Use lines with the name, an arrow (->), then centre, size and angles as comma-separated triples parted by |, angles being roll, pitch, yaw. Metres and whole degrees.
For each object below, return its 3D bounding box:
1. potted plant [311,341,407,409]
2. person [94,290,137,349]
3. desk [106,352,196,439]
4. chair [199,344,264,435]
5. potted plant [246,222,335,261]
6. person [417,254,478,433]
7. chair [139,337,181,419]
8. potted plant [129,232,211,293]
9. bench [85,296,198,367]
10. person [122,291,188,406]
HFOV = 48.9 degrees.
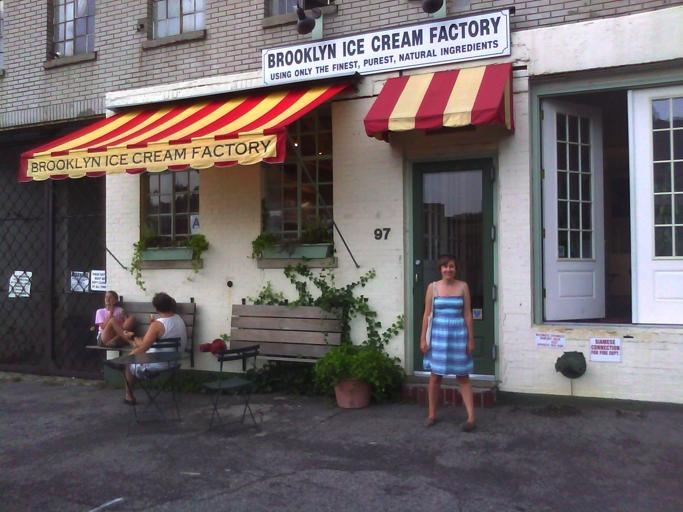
potted plant -> 0.283, 1.770, 11.317 | 0.960, 0.624, 0.881 | 9, -6, -38
person -> -3.855, 1.080, 13.057 | 0.885, 1.010, 0.527 | -3, -4, 35
desk -> -2.797, 1.987, 11.231 | 1.112, 0.987, 1.250 | -5, -12, -11
chair -> -1.558, 1.739, 10.754 | 0.606, 0.940, 0.658 | -13, -21, 22
potted plant -> -0.791, -0.218, 12.532 | 1.347, 0.573, 0.549 | -3, 10, -3
person -> 1.436, 1.185, 10.174 | 0.704, 2.299, 0.571 | 0, 9, 11
chair -> -2.774, 1.803, 11.060 | 0.884, 1.192, 0.896 | 0, -4, -23
potted plant -> -3.085, 0.120, 13.514 | 1.675, 1.029, 0.482 | 4, 11, 31
bench -> -3.372, 1.515, 13.150 | 1.766, 1.294, 0.777 | -2, 5, 30
person -> -2.946, 1.476, 11.713 | 1.022, 1.952, 0.813 | 1, 7, 8
